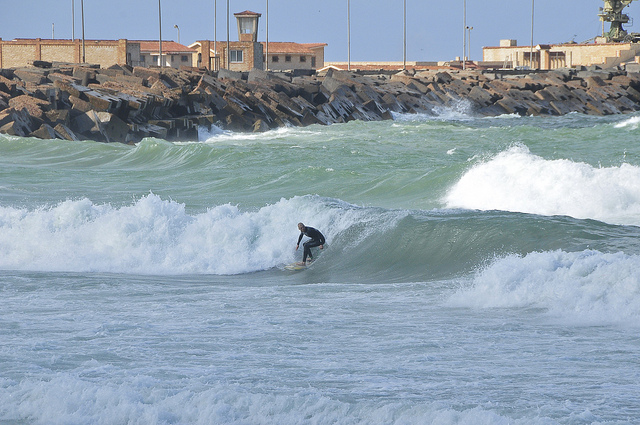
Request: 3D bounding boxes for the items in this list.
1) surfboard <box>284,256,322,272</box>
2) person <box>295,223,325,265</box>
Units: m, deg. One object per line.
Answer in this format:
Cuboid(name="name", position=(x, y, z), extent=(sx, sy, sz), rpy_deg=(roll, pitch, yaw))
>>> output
Cuboid(name="surfboard", position=(-0.444, 1.395, 34.912), extent=(1.133, 0.301, 0.400), rpy_deg=(-9, -35, -19))
Cuboid(name="person", position=(-0.271, 0.813, 34.965), extent=(0.824, 1.156, 0.838), rpy_deg=(-1, 4, -12))
